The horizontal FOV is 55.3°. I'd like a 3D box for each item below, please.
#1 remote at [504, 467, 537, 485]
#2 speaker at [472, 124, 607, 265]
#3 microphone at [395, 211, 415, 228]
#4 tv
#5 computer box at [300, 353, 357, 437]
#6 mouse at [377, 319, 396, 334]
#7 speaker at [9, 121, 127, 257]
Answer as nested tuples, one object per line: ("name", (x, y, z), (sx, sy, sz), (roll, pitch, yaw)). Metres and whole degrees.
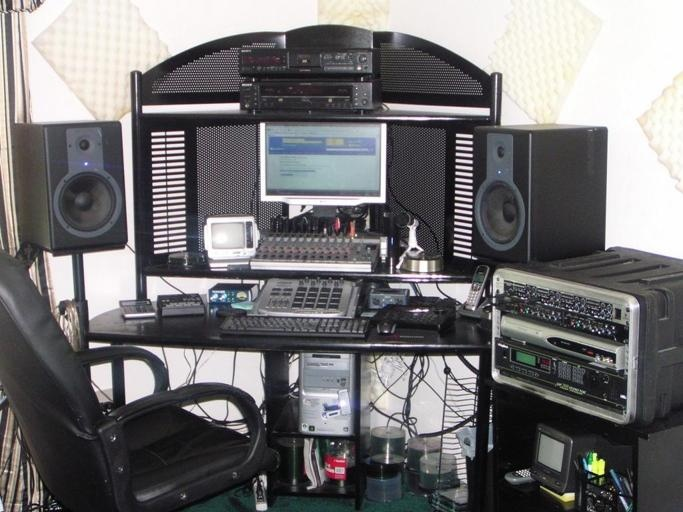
("remote", (0.688, 0.855, 2.524), (0.109, 0.026, 0.056), (-4, 5, -26))
("speaker", (0.821, -0.273, 2.791), (0.426, 0.612, 0.470), (-6, 10, -24))
("microphone", (0.321, -0.178, 3.246), (0.099, 0.086, 0.159), (1, 6, 6))
("tv", (-0.093, -0.450, 3.164), (0.616, 0.397, 0.038), (1, 6, 8))
("computer box", (-0.058, 0.641, 3.000), (0.246, 0.378, 0.246), (-1, 12, 0))
("mouse", (0.192, 0.300, 2.750), (0.077, 0.051, 0.061), (0, 6, 3))
("speaker", (-1.240, -0.288, 3.038), (0.435, 0.649, 0.389), (-12, 18, -41))
